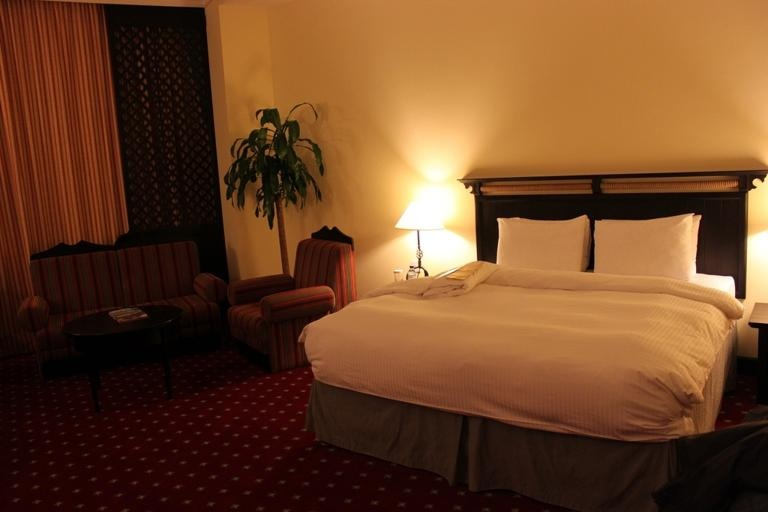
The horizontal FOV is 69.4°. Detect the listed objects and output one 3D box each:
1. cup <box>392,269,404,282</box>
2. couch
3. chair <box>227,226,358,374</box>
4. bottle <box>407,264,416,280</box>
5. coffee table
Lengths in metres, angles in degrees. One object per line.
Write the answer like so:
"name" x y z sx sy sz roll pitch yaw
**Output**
"cup" 0.136 0.205 5.783 0.115 0.174 0.121 -3 9 0
"couch" -2.825 0.523 6.052 1.937 1.095 0.893 -7 13 -30
"chair" -1.016 0.410 5.946 1.177 1.299 1.351 -4 7 -24
"bottle" 0.302 0.182 6.083 0.120 0.227 0.130 -1 6 0
"coffee table" -2.419 0.947 5.264 1.003 0.754 1.036 4 11 33
